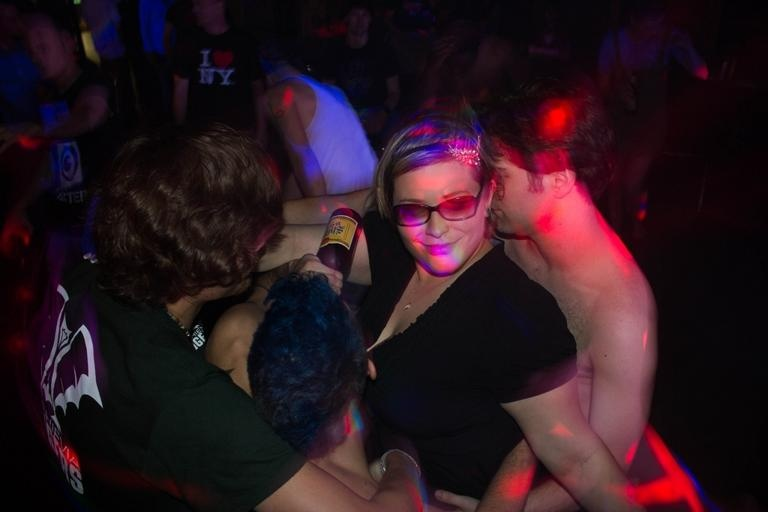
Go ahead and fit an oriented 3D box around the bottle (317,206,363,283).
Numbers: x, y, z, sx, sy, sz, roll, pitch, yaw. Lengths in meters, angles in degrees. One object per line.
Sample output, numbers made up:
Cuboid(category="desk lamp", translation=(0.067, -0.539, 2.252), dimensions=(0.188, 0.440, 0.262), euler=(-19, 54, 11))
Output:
Cuboid(category="bottle", translation=(-0.314, -0.064, 4.289), dimensions=(0.223, 0.482, 0.403), euler=(9, 30, 12))
